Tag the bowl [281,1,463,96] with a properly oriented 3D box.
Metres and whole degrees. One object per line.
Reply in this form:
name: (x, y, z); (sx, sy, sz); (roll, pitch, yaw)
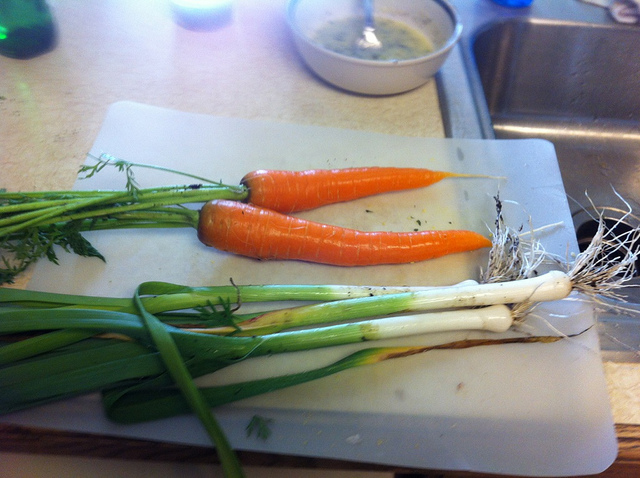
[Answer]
bowl: (0.159, -0.625, 1.549); (0.524, 0.152, 0.355); (-2, 64, 0)
